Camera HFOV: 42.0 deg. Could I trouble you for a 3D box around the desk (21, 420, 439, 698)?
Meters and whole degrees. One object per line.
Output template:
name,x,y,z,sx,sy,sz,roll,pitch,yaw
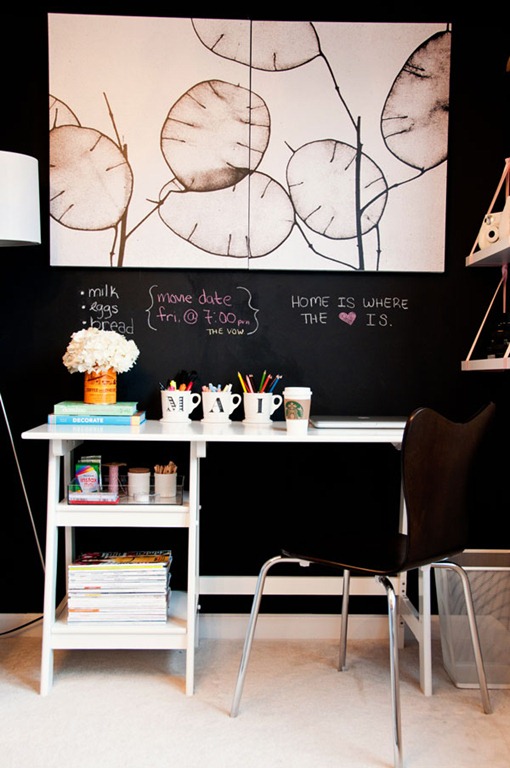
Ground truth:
desk,-0.079,0.424,2.021,1.078,0.888,0.467,1,26,-12

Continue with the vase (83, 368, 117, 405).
vase,-0.439,0.003,1.877,0.082,0.110,0.085,-1,3,-38

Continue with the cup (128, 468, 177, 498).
cup,-0.282,0.263,1.820,0.113,0.090,0.071,1,-1,13

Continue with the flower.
flower,-0.438,-0.090,1.874,0.132,0.113,0.147,-1,1,0

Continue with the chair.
chair,0.274,0.542,1.791,0.622,1.195,0.611,3,1,43
